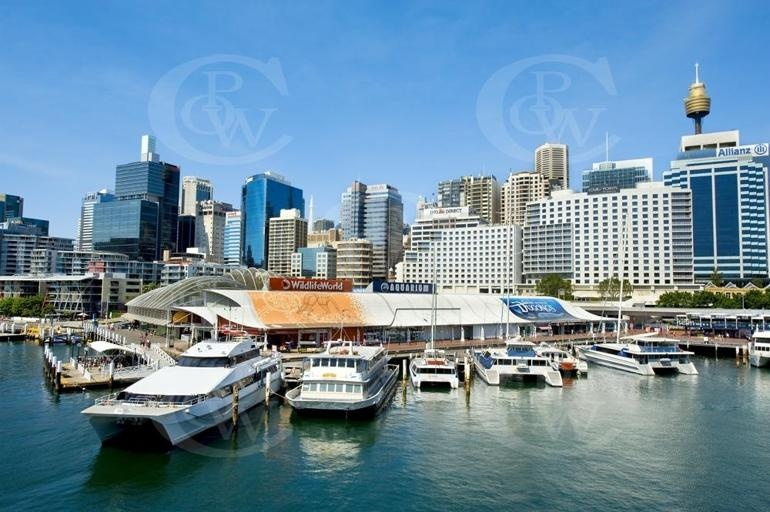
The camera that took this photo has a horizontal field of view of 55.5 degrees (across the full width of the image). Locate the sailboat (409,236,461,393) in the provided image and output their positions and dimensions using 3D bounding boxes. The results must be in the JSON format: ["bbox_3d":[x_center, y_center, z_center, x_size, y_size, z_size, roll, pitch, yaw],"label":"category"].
[{"bbox_3d":[8.953,12.318,130.972,8.003,15.808,43.756,0,-2,5],"label":"sailboat"}]

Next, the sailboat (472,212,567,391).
[{"bbox_3d":[21.379,15.906,117.511,8.323,17.667,13.053,1,-4,7],"label":"sailboat"}]

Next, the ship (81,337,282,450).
[{"bbox_3d":[-24.148,17.267,96.135,11.187,9.173,22.655,5,9,24],"label":"ship"}]

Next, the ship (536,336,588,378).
[{"bbox_3d":[29.482,17.792,121.135,6.864,5.278,11.909,2,3,6],"label":"ship"}]
